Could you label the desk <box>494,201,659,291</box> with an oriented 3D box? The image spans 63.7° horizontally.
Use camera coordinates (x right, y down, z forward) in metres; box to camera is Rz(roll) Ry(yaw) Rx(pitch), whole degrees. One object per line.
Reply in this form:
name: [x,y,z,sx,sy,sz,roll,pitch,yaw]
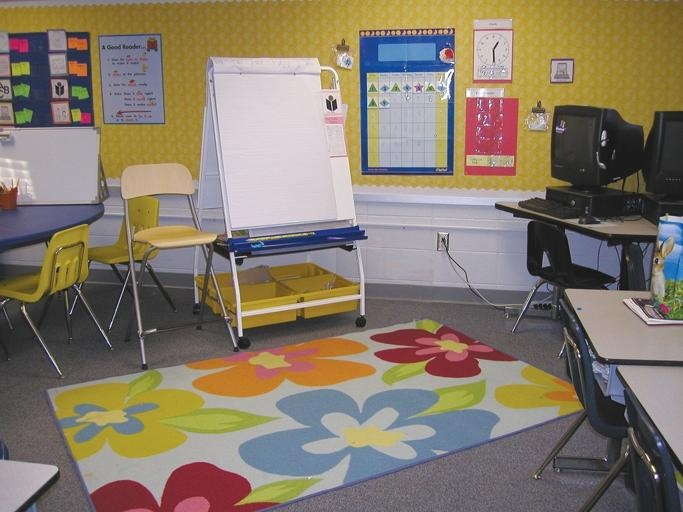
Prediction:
desk: [1.699,-0.028,3.973,0.966,0.512,0.543,6,18,28]
